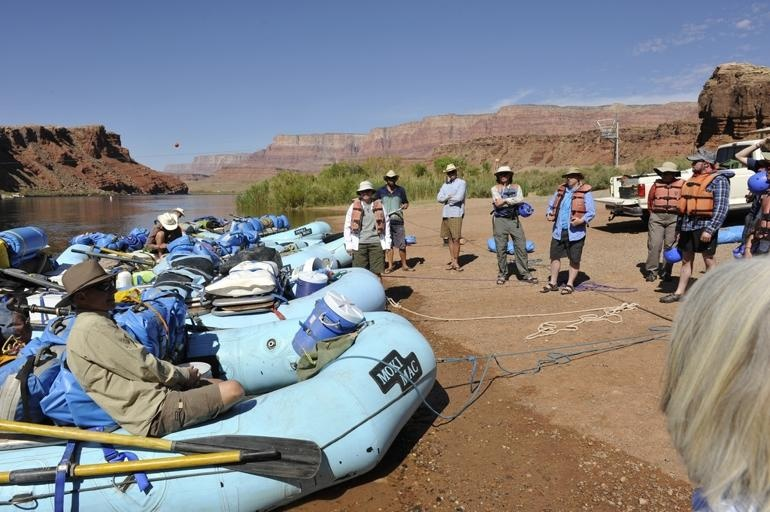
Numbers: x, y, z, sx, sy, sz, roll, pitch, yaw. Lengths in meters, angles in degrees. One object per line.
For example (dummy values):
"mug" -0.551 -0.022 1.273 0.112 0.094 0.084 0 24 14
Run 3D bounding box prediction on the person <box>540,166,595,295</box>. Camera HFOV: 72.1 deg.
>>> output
"person" 2.815 -0.415 8.155 0.743 1.902 1.109 -2 16 19

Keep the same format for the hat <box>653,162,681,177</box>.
"hat" 4.414 -1.384 8.196 0.402 0.115 0.307 16 -6 -35

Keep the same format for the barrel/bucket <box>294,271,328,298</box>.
"barrel/bucket" -0.941 0.384 6.923 0.443 0.336 0.378 7 -7 -4

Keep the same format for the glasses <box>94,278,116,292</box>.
"glasses" -2.228 0.231 4.230 0.112 0.103 0.036 3 8 -10

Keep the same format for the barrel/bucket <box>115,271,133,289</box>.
"barrel/bucket" -3.325 0.310 6.770 0.250 0.288 0.231 -5 -10 -1

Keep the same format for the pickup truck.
"pickup truck" 8.041 -1.778 12.439 4.984 1.313 2.016 -9 8 -2

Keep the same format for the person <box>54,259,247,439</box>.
"person" -1.947 0.705 4.125 1.253 1.368 0.611 -2 16 15

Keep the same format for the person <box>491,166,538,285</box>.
"person" 2.163 -0.560 8.998 0.659 1.959 1.055 -4 15 12

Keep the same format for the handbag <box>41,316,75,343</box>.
"handbag" -2.708 0.613 4.418 0.312 0.095 0.299 -5 16 -8

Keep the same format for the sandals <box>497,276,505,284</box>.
"sandals" 1.925 0.412 8.808 0.093 0.060 0.165 -8 5 20

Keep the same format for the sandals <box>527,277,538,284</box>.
"sandals" 2.458 0.398 8.822 0.104 0.075 0.205 -4 0 -11

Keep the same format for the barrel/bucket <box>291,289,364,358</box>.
"barrel/bucket" -0.566 0.689 5.197 0.458 0.550 0.437 44 -4 3

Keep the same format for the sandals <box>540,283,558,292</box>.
"sandals" 2.526 0.500 8.129 0.269 0.075 0.111 -1 2 -18

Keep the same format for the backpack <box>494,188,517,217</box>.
"backpack" 1.975 -0.880 8.658 0.418 0.485 0.189 -4 16 10

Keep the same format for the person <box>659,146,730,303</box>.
"person" 4.135 -0.381 7.063 0.692 2.041 1.224 2 17 31
